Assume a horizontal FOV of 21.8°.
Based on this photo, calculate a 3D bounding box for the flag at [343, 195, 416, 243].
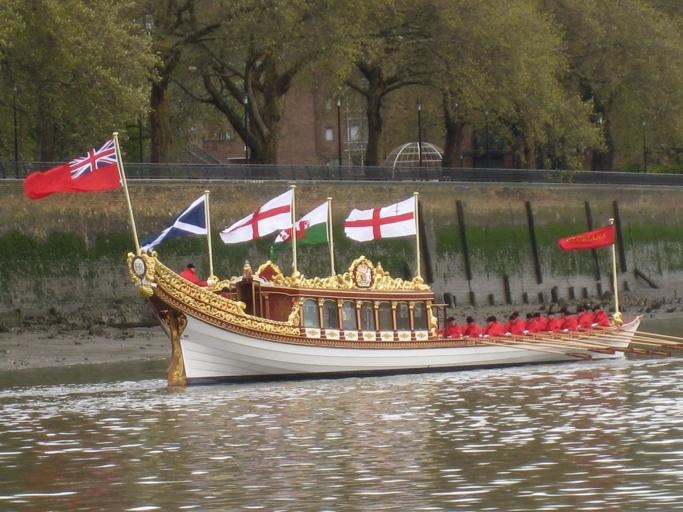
[{"bbox_3d":[1.842,-1.679,78.488,2.972,1.911,0.832,0,12,7],"label":"flag"}]

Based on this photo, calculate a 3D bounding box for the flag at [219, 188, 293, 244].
[{"bbox_3d":[-3.435,-1.804,76.668,2.827,2.213,0.868,-3,12,-7],"label":"flag"}]

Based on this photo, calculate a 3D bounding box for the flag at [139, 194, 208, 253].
[{"bbox_3d":[-7.104,-1.354,76.250,2.382,2.792,1.647,-4,5,-41],"label":"flag"}]

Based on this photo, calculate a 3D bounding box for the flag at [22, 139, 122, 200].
[{"bbox_3d":[-11.389,-3.369,73.966,3.479,2.688,2.320,-7,4,-37],"label":"flag"}]
